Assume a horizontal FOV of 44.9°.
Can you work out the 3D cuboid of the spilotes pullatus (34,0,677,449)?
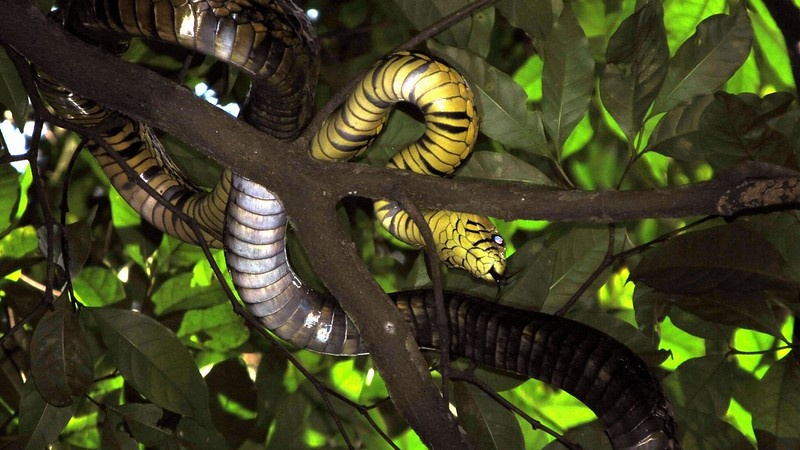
[{"bbox_3d":[-0.007,-0.105,2.284,1.456,0.597,0.810,40,-6,-6],"label":"spilotes pullatus"}]
